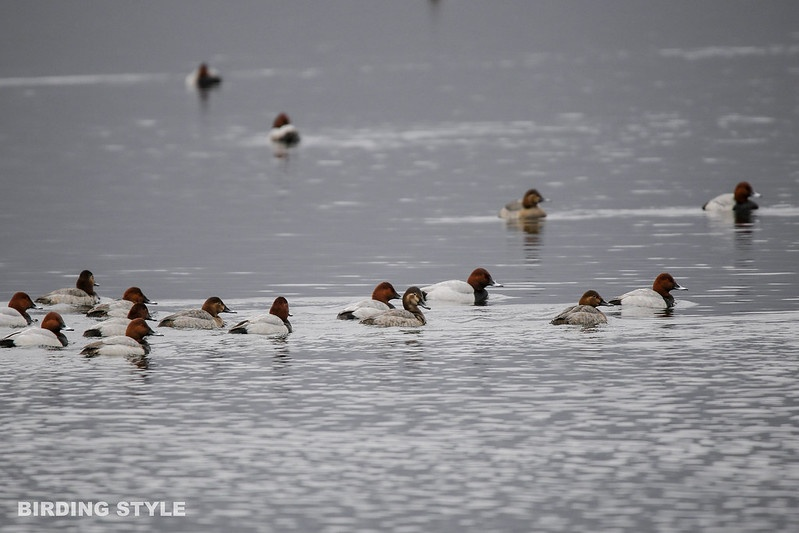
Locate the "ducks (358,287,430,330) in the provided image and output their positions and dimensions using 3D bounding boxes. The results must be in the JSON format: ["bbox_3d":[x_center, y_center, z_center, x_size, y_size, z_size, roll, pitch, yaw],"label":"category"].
[{"bbox_3d":[-0.064,0.913,20.373,1.604,0.792,0.738,-8,19,14],"label":"\"ducks"}]

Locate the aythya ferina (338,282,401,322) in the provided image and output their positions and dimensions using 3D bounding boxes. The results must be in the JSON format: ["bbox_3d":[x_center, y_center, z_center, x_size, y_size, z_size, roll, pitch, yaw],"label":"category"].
[{"bbox_3d":[-0.655,0.836,20.940,1.594,0.681,0.672,-17,26,-31],"label":"aythya ferina"}]

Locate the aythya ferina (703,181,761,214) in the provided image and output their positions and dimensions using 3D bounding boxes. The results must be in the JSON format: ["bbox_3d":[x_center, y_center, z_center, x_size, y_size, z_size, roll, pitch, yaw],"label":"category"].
[{"bbox_3d":[12.169,-2.489,37.229,2.203,1.026,1.089,-1,12,0],"label":"aythya ferina"}]

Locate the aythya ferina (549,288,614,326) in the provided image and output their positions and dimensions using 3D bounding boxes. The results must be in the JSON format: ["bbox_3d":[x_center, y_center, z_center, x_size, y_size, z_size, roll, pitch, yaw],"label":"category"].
[{"bbox_3d":[3.492,0.912,20.136,1.467,0.672,0.718,-2,5,-29],"label":"aythya ferina"}]
